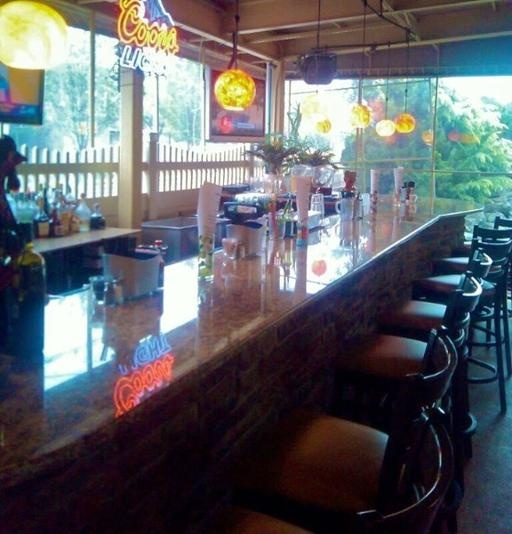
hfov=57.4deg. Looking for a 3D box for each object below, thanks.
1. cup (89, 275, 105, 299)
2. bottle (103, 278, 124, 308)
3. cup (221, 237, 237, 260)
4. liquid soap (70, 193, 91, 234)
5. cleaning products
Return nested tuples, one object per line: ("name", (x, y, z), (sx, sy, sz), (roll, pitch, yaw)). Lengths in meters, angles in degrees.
("cup", (-0.480, 0.064, 1.416), (0.071, 0.077, 0.032), (7, 10, 34))
("bottle", (-0.426, 0.076, 1.409), (0.054, 0.137, 0.063), (1, 1, -6))
("cup", (-0.124, -0.095, 2.205), (0.070, 0.107, 0.078), (4, 7, 32))
("liquid soap", (-1.714, -0.545, 4.629), (0.161, 0.389, 0.183), (6, 6, 17))
("cleaning products", (-0.454, -0.006, 0.940), (0.049, 0.198, 0.058), (10, 18, 16))
